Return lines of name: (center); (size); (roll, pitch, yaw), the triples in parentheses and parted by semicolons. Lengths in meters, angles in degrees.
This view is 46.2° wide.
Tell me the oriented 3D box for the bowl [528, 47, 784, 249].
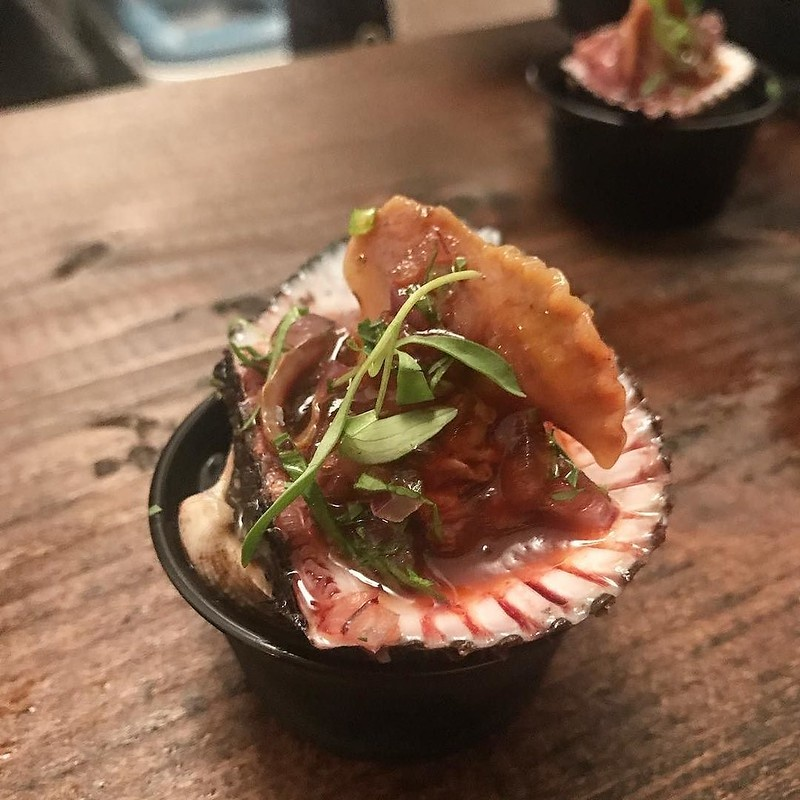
bowl: (0.524, -0.488, 1.949); (0.378, 0.202, 0.373); (0, 49, 0)
